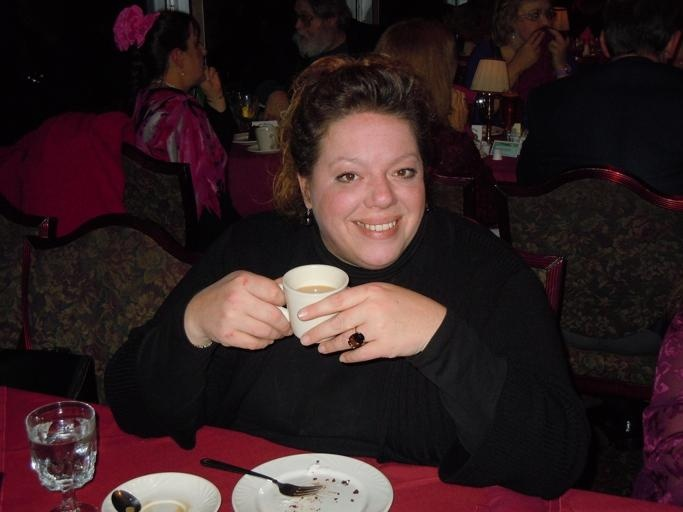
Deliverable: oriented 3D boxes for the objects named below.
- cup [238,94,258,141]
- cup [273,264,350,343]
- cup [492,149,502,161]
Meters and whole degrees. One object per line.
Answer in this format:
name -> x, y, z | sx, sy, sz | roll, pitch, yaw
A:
cup -> -0.748, -1.183, 4.791 | 0.159, 0.312, 0.167 | 0, 16, 0
cup -> -0.070, 0.099, 1.372 | 0.153, 0.152, 0.197 | -10, 21, -21
cup -> 0.982, -0.652, 3.611 | 0.072, 0.070, 0.074 | -3, 6, 0
